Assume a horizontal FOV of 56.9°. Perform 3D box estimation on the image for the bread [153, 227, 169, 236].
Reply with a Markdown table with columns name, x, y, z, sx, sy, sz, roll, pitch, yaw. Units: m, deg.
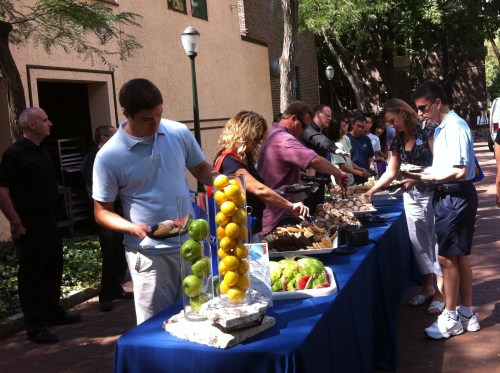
| name | x | y | z | sx | sy | sz | roll | pitch | yaw |
| --- | --- | --- | --- | --- | --- | --- | --- | --- | --- |
| bread | -0.608 | 0.306 | 3.142 | 0.060 | 0.020 | 0.068 | -4 | 21 | -9 |

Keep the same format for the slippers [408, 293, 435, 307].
| name | x | y | z | sx | sy | sz | roll | pitch | yaw |
| --- | --- | --- | --- | --- | --- | --- | --- | --- | --- |
| slippers | 2.018 | 1.317 | 5.427 | 0.287 | 0.084 | 0.132 | -17 | 3 | -24 |

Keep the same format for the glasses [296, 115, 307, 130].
| name | x | y | z | sx | sy | sz | roll | pitch | yaw |
| --- | --- | --- | --- | --- | --- | --- | --- | --- | --- |
| glasses | 0.585 | -0.715 | 5.167 | 0.035 | 0.125 | 0.121 | -9 | -4 | 18 |

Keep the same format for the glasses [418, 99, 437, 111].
| name | x | y | z | sx | sy | sz | roll | pitch | yaw |
| --- | --- | --- | --- | --- | --- | --- | --- | --- | --- |
| glasses | 1.755 | -0.791 | 4.595 | 0.102 | 0.033 | 0.096 | -39 | 8 | -21 |

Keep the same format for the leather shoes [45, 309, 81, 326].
| name | x | y | z | sx | sy | sz | roll | pitch | yaw |
| --- | --- | --- | --- | --- | --- | --- | --- | --- | --- |
| leather shoes | -2.333 | 1.625 | 5.744 | 0.391 | 0.176 | 0.160 | -1 | 2 | -12 |

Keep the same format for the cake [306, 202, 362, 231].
| name | x | y | z | sx | sy | sz | roll | pitch | yaw |
| --- | --- | --- | --- | --- | --- | --- | --- | --- | --- |
| cake | 0.851 | 0.308 | 4.618 | 0.499 | 0.241 | 0.471 | 1 | 10 | -10 |

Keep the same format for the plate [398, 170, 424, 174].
| name | x | y | z | sx | sy | sz | roll | pitch | yaw |
| --- | --- | --- | --- | --- | --- | --- | --- | --- | --- |
| plate | 1.583 | -0.146 | 4.488 | 0.228 | 0.055 | 0.101 | 0 | 14 | 16 |

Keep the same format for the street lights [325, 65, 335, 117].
| name | x | y | z | sx | sy | sz | roll | pitch | yaw |
| --- | --- | --- | --- | --- | --- | --- | --- | --- | --- |
| street lights | 4.334 | -4.910 | 24.291 | 0.703 | 2.738 | 0.729 | 4 | 12 | 25 |

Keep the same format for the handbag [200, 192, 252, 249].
| name | x | y | z | sx | sy | sz | roll | pitch | yaw |
| --- | --- | --- | --- | --- | --- | --- | --- | --- | --- |
| handbag | -0.234 | 0.168 | 2.830 | 0.241 | 0.389 | 0.237 | -1 | 8 | -42 |

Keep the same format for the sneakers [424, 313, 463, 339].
| name | x | y | z | sx | sy | sz | roll | pitch | yaw |
| --- | --- | --- | --- | --- | --- | --- | --- | --- | --- |
| sneakers | 1.957 | 1.370 | 4.626 | 0.401 | 0.256 | 0.176 | -10 | 18 | -9 |

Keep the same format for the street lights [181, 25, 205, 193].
| name | x | y | z | sx | sy | sz | roll | pitch | yaw |
| --- | --- | --- | --- | --- | --- | --- | --- | --- | --- |
| street lights | -1.243 | -1.932 | 10.366 | 0.482 | 3.085 | 0.508 | 3 | 10 | 23 |

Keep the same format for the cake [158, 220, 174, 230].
| name | x | y | z | sx | sy | sz | roll | pitch | yaw |
| --- | --- | --- | --- | --- | --- | --- | --- | --- | --- |
| cake | -0.578 | 0.261 | 3.178 | 0.069 | 0.070 | 0.106 | 14 | 9 | 38 |

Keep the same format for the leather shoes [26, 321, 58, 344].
| name | x | y | z | sx | sy | sz | roll | pitch | yaw |
| --- | --- | --- | --- | --- | --- | --- | --- | --- | --- |
| leather shoes | -2.369 | 1.646 | 5.260 | 0.440 | 0.187 | 0.169 | 1 | 0 | 26 |

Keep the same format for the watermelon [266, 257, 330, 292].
| name | x | y | z | sx | sy | sz | roll | pitch | yaw |
| --- | --- | --- | --- | --- | --- | --- | --- | --- | --- |
| watermelon | 0.333 | 0.570 | 3.197 | 0.333 | 0.195 | 0.396 | -4 | 7 | 7 |

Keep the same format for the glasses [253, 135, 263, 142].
| name | x | y | z | sx | sy | sz | roll | pitch | yaw |
| --- | --- | --- | --- | --- | --- | --- | --- | --- | --- |
| glasses | 0.083 | -0.463 | 4.516 | 0.025 | 0.055 | 0.138 | 7 | 17 | 37 |

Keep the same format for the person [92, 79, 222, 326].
| name | x | y | z | sx | sy | sz | roll | pitch | yaw |
| --- | --- | --- | --- | --- | --- | --- | --- | --- | --- |
| person | -0.808 | 0.268 | 3.581 | 0.870 | 1.974 | 0.815 | 3 | 15 | -40 |

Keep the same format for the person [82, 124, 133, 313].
| name | x | y | z | sx | sy | sz | roll | pitch | yaw |
| --- | --- | --- | --- | --- | --- | --- | --- | --- | --- |
| person | -1.938 | 0.469 | 6.579 | 0.896 | 2.642 | 0.867 | -1 | 1 | -35 |
